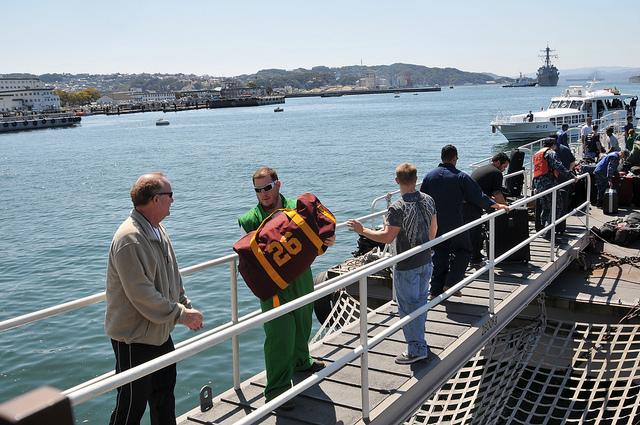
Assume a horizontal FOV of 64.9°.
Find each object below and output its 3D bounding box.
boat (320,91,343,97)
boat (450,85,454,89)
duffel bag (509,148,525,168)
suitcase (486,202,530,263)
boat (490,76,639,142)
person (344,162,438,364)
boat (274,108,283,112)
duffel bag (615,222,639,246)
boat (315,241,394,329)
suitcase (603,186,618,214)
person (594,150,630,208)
[{"bbox_3d":[6.326,-64.240,273.198,8.999,2.491,16.371,-1,15,8],"label":"boat"},{"bbox_3d":[106.305,-101.428,407.631,1.904,2.872,3.110,3,18,10],"label":"boat"},{"bbox_3d":[5.354,-1.474,13.724,0.330,0.542,0.709,2,16,20],"label":"duffel bag"},{"bbox_3d":[3.528,0.433,9.115,0.658,1.055,0.629,-3,-9,27],"label":"suitcase"},{"bbox_3d":[19.167,-7.829,40.261,3.848,4.596,7.979,-14,19,-35],"label":"boat"},{"bbox_3d":[0.968,0.607,6.073,0.848,2.353,1.385,0,15,12],"label":"person"},{"bbox_3d":[-11.003,-26.497,130.571,2.097,0.536,2.705,-5,15,-7],"label":"boat"},{"bbox_3d":[6.554,0.479,10.708,0.680,0.343,0.276,-13,18,-32],"label":"duffel bag"},{"bbox_3d":[0.621,1.450,9.828,1.596,0.725,2.043,-12,15,-13],"label":"boat"},{"bbox_3d":[7.351,-0.299,12.753,0.324,0.553,0.955,-1,8,29],"label":"suitcase"},{"bbox_3d":[7.341,-0.843,12.790,0.697,1.497,1.268,5,17,31],"label":"person"}]
